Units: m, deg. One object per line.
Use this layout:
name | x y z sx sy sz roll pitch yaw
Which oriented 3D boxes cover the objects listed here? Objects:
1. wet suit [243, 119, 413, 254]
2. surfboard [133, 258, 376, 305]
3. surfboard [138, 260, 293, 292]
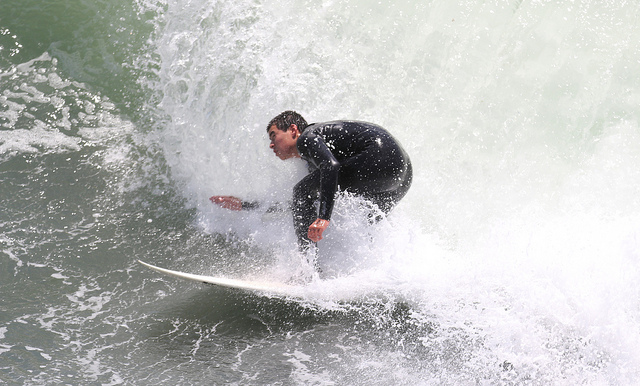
wet suit | 0.108 -0.128 7.797 1.531 1.733 1.382 -9 86 -27
surfboard | -0.659 0.934 7.263 2.100 0.214 0.226 6 18 -1
surfboard | -1.119 0.876 7.304 1.068 0.106 0.120 9 26 -11
